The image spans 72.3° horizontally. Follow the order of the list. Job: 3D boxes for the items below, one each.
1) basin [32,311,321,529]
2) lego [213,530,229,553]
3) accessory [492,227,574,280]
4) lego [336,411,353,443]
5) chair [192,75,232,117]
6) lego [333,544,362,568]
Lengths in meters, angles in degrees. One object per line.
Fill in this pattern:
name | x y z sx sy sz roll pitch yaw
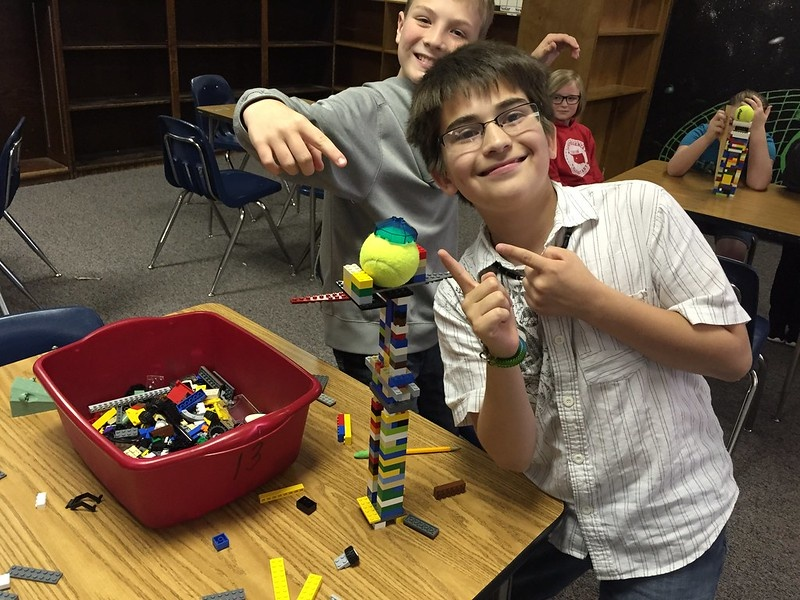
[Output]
basin | -0.457 0.126 1.114 0.403 0.200 0.479 -17 25 -40
lego | -0.320 0.432 0.981 0.023 0.015 0.023 -16 31 -34
accessory | 0.281 -0.098 1.171 0.143 0.024 0.119 -45 23 -8
lego | -0.120 0.293 1.238 0.037 0.021 0.091 -7 37 -2
chair | -1.477 -1.666 4.339 0.289 0.214 0.476 -9 29 -17
lego | -0.094 0.449 0.954 0.034 0.010 0.027 -29 54 -11
